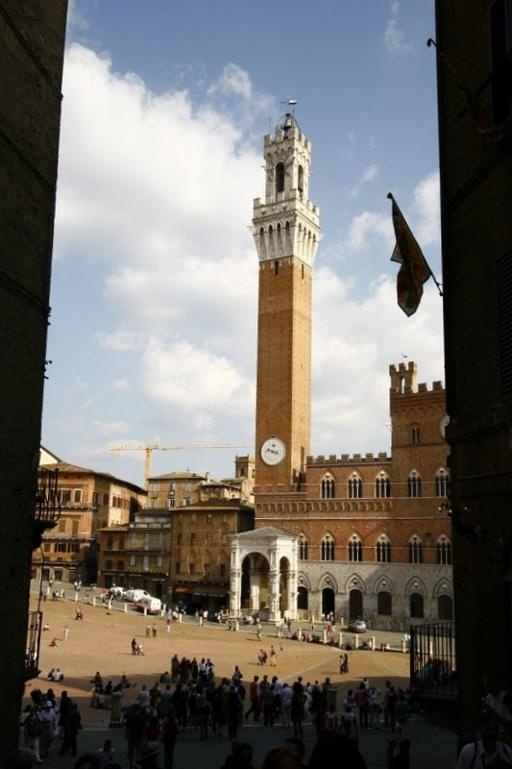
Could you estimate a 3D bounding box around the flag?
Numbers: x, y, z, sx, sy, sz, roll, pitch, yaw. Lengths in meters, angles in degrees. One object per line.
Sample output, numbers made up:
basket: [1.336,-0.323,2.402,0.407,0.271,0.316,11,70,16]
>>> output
flag: [2.227,-1.940,11.166,0.672,2.070,0.062,-7,-23,26]

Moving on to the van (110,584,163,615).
van: [-7.793,13.909,50.998,1.552,1.554,4.933,8,-9,-33]
